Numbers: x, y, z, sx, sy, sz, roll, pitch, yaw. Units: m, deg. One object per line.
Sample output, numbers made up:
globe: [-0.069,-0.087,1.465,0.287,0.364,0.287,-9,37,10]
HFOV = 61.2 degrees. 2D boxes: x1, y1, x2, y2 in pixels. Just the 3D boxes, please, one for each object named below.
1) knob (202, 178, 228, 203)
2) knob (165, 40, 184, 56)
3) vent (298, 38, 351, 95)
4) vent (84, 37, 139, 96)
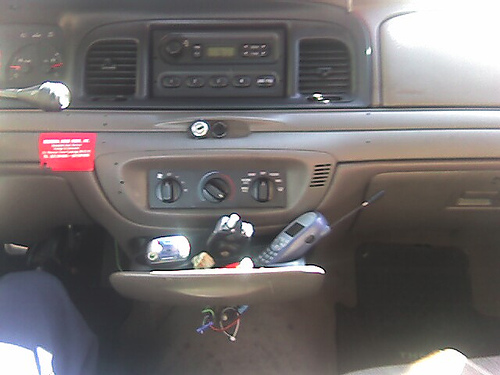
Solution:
knob: [-0.134,0.011,1.612,0.096,0.059,0.067,-1,44,-4]
knob: [-0.322,-0.587,1.779,0.075,0.046,0.050,-2,44,-5]
vent: [0.310,-0.503,1.761,0.213,0.166,0.166,2,44,0]
vent: [-0.588,-0.515,1.781,0.226,0.239,0.057,-1,6,1]
